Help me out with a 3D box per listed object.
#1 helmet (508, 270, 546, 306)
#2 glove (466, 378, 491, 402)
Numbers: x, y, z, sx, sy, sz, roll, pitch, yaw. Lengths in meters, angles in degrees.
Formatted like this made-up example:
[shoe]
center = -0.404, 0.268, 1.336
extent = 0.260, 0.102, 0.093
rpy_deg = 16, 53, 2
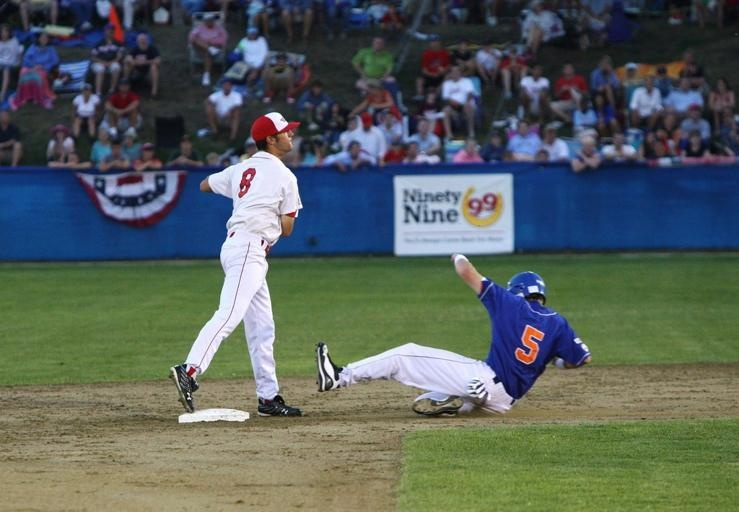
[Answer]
[helmet]
center = 2.279, 0.485, 25.786
extent = 0.530, 0.431, 0.390
rpy_deg = 22, -2, 26
[glove]
center = 1.542, 1.947, 25.454
extent = 0.306, 0.123, 0.296
rpy_deg = 8, -16, 11
